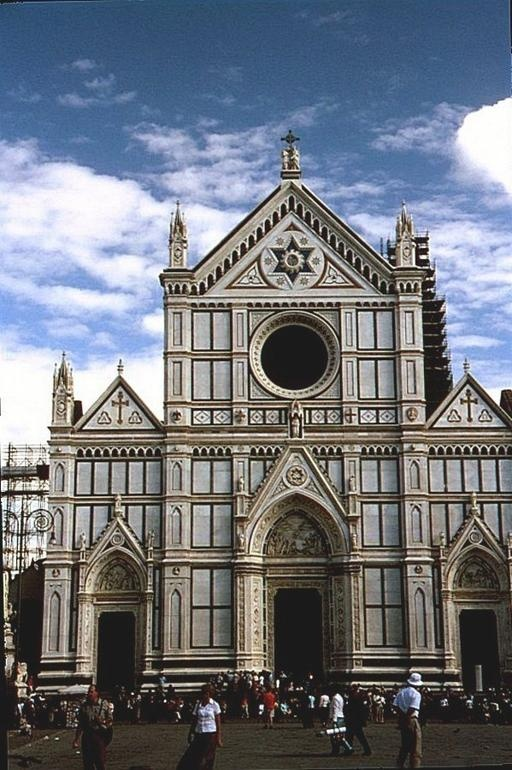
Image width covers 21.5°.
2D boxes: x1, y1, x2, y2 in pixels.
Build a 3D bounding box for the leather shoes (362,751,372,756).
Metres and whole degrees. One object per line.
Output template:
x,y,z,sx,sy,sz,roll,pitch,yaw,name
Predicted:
2.169,7.214,26.390,0.123,0.083,0.313,-1,-12,3,leather shoes
